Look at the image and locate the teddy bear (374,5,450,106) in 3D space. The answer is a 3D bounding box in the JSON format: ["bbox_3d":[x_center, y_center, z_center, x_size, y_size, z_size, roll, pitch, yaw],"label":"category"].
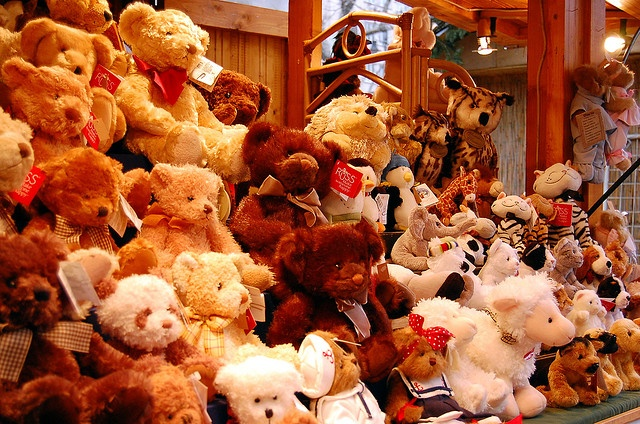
[{"bbox_3d":[0.755,-1.162,4.283,0.563,0.770,0.848,15,14,8],"label":"teddy bear"}]

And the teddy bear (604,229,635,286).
[{"bbox_3d":[1.818,0.284,3.441,0.124,0.299,0.164,11,-22,29],"label":"teddy bear"}]

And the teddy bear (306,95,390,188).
[{"bbox_3d":[0.164,-0.368,2.832,0.423,0.495,0.335,12,-21,-41],"label":"teddy bear"}]

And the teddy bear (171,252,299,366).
[{"bbox_3d":[-0.351,0.310,2.082,0.360,0.484,0.350,-4,-4,34],"label":"teddy bear"}]

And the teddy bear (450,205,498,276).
[{"bbox_3d":[0.751,0.132,2.741,0.192,0.206,0.272,0,30,26],"label":"teddy bear"}]

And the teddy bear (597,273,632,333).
[{"bbox_3d":[1.559,0.489,2.991,0.165,0.288,0.180,-2,-9,17],"label":"teddy bear"}]

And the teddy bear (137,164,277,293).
[{"bbox_3d":[-0.397,0.008,2.199,0.424,0.553,0.505,3,1,44],"label":"teddy bear"}]

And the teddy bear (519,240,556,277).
[{"bbox_3d":[1.052,0.221,2.744,0.158,0.172,0.145,-2,-1,19],"label":"teddy bear"}]

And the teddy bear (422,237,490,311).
[{"bbox_3d":[0.579,0.251,2.440,0.288,0.327,0.261,-2,1,-1],"label":"teddy bear"}]

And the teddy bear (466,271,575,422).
[{"bbox_3d":[0.806,0.512,2.370,0.554,0.630,0.398,-1,1,28],"label":"teddy bear"}]

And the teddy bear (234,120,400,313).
[{"bbox_3d":[-0.055,-0.014,2.483,0.534,0.717,0.469,6,-4,-29],"label":"teddy bear"}]

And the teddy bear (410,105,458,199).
[{"bbox_3d":[0.713,-0.399,3.605,0.285,0.568,0.292,-4,30,-3],"label":"teddy bear"}]

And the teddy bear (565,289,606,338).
[{"bbox_3d":[1.260,0.461,2.705,0.180,0.288,0.229,-8,-11,40],"label":"teddy bear"}]

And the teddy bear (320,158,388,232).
[{"bbox_3d":[0.179,-0.053,2.580,0.269,0.411,0.344,5,1,28],"label":"teddy bear"}]

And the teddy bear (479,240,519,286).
[{"bbox_3d":[0.811,0.214,2.584,0.182,0.285,0.180,3,1,20],"label":"teddy bear"}]

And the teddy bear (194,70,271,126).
[{"bbox_3d":[-0.503,-0.616,3.142,0.363,0.316,0.288,6,10,28],"label":"teddy bear"}]
